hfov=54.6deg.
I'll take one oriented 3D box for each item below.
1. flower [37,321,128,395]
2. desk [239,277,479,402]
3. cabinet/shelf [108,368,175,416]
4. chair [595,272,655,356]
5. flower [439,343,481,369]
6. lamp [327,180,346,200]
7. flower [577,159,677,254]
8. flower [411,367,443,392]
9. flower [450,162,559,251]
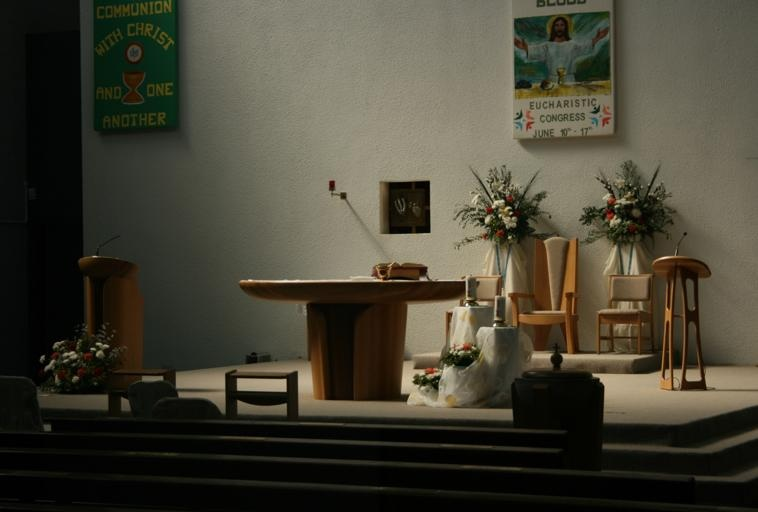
[{"bbox_3d":[-2.932,1.094,7.114,0.440,0.405,0.552,-8,7,19],"label":"flower"},{"bbox_3d":[-0.192,0.753,6.623,1.745,1.045,0.680,-3,0,2],"label":"desk"},{"bbox_3d":[-1.832,1.063,5.728,0.401,0.387,0.313,-8,-14,-16],"label":"cabinet/shelf"},{"bbox_3d":[2.929,0.665,8.721,0.561,0.964,0.578,-3,-7,41],"label":"chair"},{"bbox_3d":[0.709,0.860,6.362,0.327,0.183,0.358,-3,-1,4],"label":"flower"},{"bbox_3d":[-0.577,-0.903,10.093,0.295,0.349,0.185,3,-3,-13],"label":"lamp"},{"bbox_3d":[3.168,-0.499,9.361,0.890,0.981,0.871,-3,-2,12],"label":"flower"},{"bbox_3d":[0.441,1.081,6.423,0.176,0.127,0.178,-2,-1,-20],"label":"flower"},{"bbox_3d":[1.581,-0.577,9.609,1.016,0.966,1.063,-9,0,1],"label":"flower"}]
